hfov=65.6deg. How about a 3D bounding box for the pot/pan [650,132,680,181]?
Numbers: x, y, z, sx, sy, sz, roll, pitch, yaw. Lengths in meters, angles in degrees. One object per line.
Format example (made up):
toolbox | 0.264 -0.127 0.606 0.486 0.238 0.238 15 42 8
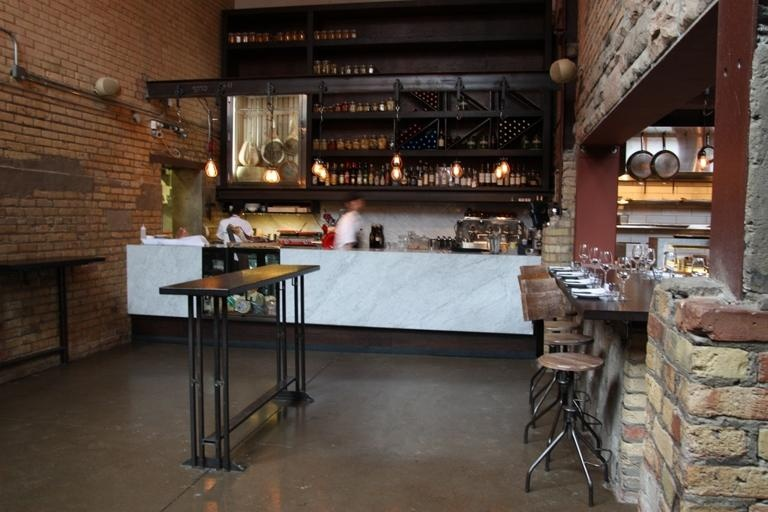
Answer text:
pot/pan | 4.199 -1.491 8.972 0.456 0.696 0.103 -2 4 6

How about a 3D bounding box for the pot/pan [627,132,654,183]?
pot/pan | 3.997 -1.372 9.133 0.764 0.440 0.110 17 -13 -38

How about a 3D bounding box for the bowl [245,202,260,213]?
bowl | -2.134 -0.791 9.757 0.149 0.108 0.163 0 -3 0

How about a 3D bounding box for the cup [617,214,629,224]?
cup | 4.226 -0.642 10.484 0.166 0.154 0.246 6 14 27

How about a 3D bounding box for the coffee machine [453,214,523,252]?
coffee machine | 1.579 -0.362 8.883 0.976 0.533 0.640 0 -2 6

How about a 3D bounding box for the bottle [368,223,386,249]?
bottle | -0.105 -0.323 9.874 0.288 0.371 0.291 0 13 0

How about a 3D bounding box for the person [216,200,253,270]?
person | -2.199 -0.359 8.850 0.543 0.529 2.824 -3 12 -13

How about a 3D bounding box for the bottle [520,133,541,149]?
bottle | 2.269 -1.757 9.112 0.288 0.212 0.229 1 13 6

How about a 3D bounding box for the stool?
stool | 1.552 1.103 4.992 0.660 1.136 1.821 -2 3 5

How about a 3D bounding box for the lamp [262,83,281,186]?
lamp | -1.511 -1.543 8.024 0.274 1.154 0.267 13 21 24

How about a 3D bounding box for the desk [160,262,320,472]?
desk | -1.343 1.115 5.870 0.469 1.046 1.681 0 2 10
